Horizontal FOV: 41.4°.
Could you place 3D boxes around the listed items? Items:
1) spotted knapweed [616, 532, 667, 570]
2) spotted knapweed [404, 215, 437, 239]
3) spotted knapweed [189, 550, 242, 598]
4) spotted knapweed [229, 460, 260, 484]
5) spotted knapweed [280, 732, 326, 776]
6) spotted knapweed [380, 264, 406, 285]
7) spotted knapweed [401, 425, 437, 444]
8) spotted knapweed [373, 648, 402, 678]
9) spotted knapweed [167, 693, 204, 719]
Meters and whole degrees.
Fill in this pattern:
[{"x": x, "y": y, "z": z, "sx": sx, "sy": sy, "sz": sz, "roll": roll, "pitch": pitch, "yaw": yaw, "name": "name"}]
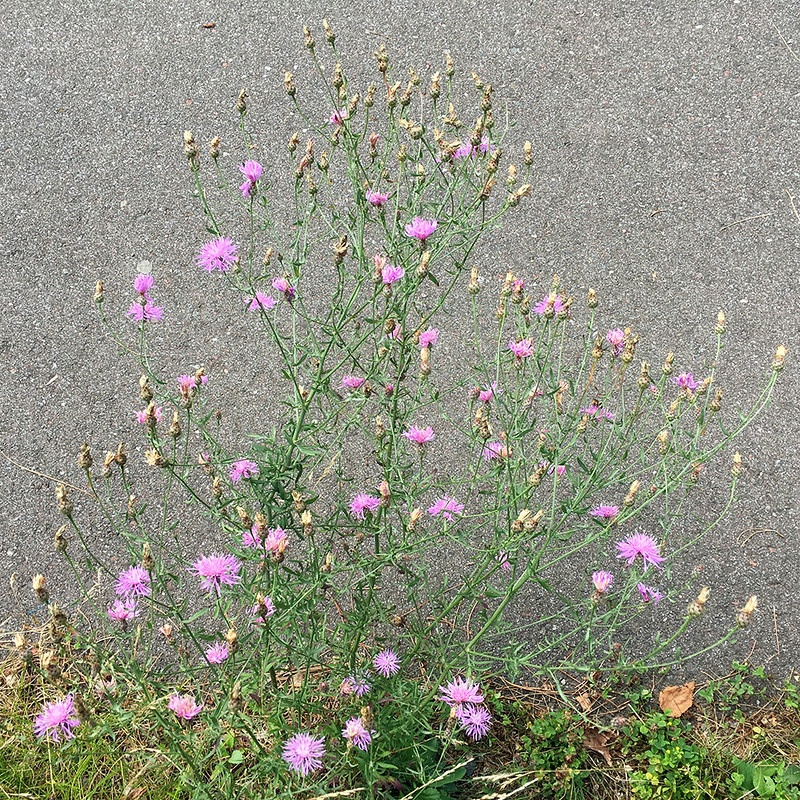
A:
[{"x": 0.832, "y": 0.526, "z": 3.655, "sx": 0.122, "sy": 0.143, "sz": 0.138, "roll": 22, "pitch": 52, "yaw": 16, "name": "spotted knapweed"}, {"x": 0.064, "y": -0.543, "z": 3.396, "sx": 0.076, "sy": 0.069, "sz": 0.084, "roll": -2, "pitch": 3, "yaw": 15, "name": "spotted knapweed"}, {"x": -0.568, "y": 0.506, "z": 3.227, "sx": 0.123, "sy": 0.156, "sz": 0.151, "roll": 3, "pitch": 49, "yaw": -5, "name": "spotted knapweed"}, {"x": -0.521, "y": 0.236, "z": 3.540, "sx": 0.077, "sy": 0.081, "sz": 0.089, "roll": -10, "pitch": 24, "yaw": 4, "name": "spotted knapweed"}, {"x": -0.281, "y": 1.036, "z": 3.081, "sx": 0.110, "sy": 0.084, "sz": 0.129, "roll": 1, "pitch": 17, "yaw": -2, "name": "spotted knapweed"}, {"x": -0.027, "y": -0.388, "z": 3.275, "sx": 0.063, "sy": 0.067, "sz": 0.057, "roll": 3, "pitch": 92, "yaw": 19, "name": "spotted knapweed"}, {"x": 0.058, "y": 0.117, "z": 3.609, "sx": 0.079, "sy": 0.092, "sz": 0.068, "roll": 2, "pitch": 82, "yaw": 10, "name": "spotted knapweed"}, {"x": -0.047, "y": 0.887, "z": 3.535, "sx": 0.069, "sy": 0.039, "sz": 0.093, "roll": -2, "pitch": 67, "yaw": -16, "name": "spotted knapweed"}, {"x": -0.631, "y": 0.940, "z": 3.167, "sx": 0.094, "sy": 0.098, "sz": 0.063, "roll": 12, "pitch": 73, "yaw": 45, "name": "spotted knapweed"}]
